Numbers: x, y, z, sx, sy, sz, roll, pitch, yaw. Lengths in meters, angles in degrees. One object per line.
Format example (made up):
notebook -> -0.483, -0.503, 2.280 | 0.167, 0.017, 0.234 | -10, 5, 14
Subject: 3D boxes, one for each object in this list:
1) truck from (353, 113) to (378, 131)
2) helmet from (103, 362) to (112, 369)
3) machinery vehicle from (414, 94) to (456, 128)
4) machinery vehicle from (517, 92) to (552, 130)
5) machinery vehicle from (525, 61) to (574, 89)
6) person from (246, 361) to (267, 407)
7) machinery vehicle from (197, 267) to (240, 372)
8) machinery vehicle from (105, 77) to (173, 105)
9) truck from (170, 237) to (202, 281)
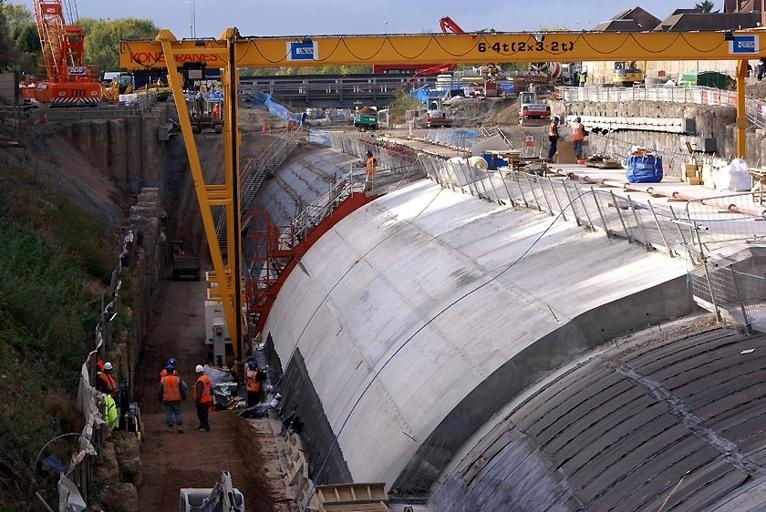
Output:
truck -> -1.538, -13.136, 73.372 | 2.596, 1.756, 1.682 | -3, 11, -20
helmet -> -7.274, 2.875, 19.783 | 0.202, 0.090, 0.229 | 5, 13, 7
machinery vehicle -> 5.178, -14.178, 75.806 | 2.018, 2.907, 5.959 | -2, 4, -8
machinery vehicle -> 13.334, -13.195, 67.062 | 2.624, 2.872, 2.635 | -1, 12, 8
machinery vehicle -> 21.051, -22.194, 91.811 | 4.059, 2.687, 9.506 | 6, 16, 35
person -> -4.161, 4.168, 24.373 | 0.578, 1.323, 0.460 | -9, 13, -28
machinery vehicle -> -6.802, 2.758, 30.756 | 1.850, 2.530, 3.519 | -1, 5, -3
machinery vehicle -> -25.055, -17.100, 76.829 | 6.112, 2.379, 47.778 | -6, 13, -15
truck -> -12.616, 0.203, 47.571 | 1.146, 1.707, 2.378 | -1, 11, -2
